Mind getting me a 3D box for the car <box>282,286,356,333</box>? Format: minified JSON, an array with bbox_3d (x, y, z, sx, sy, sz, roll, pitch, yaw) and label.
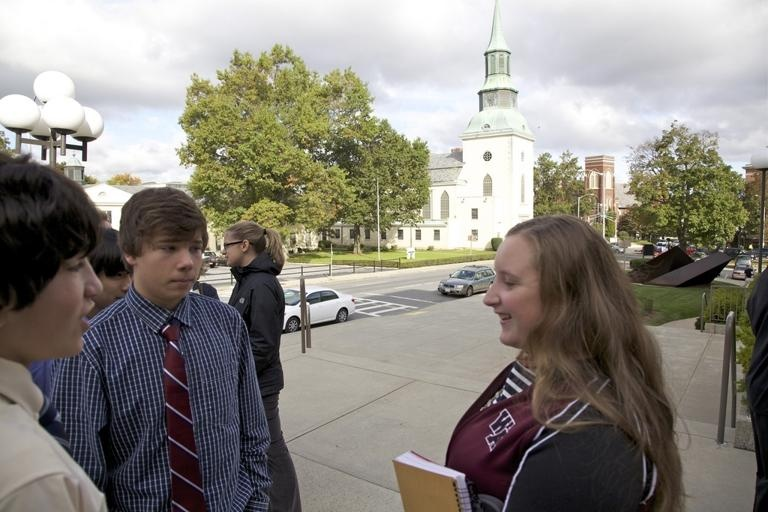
[{"bbox_3d":[-2.153,1.561,16.528,1.164,1.035,2.819,-3,-4,34],"label":"car"}]
